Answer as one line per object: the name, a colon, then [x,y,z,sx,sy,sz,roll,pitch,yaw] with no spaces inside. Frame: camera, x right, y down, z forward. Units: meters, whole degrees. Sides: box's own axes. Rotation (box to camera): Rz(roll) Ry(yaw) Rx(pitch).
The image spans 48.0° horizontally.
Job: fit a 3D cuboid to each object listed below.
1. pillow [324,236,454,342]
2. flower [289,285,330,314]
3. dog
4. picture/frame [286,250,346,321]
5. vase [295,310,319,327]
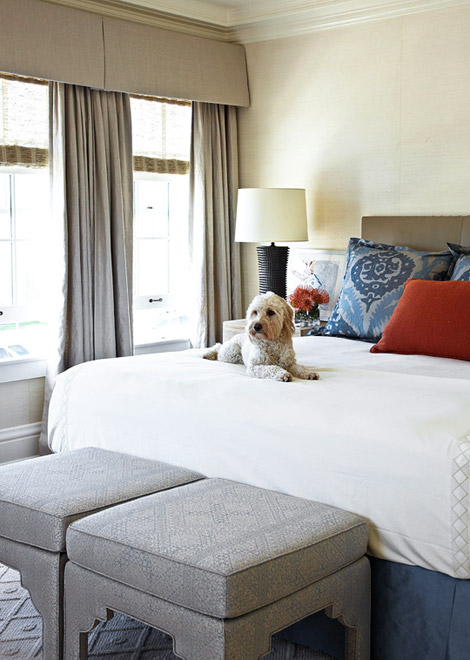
pillow: [0.854,-0.194,2.946,0.178,0.574,0.589,26,-5,-32]
flower: [0.492,-0.210,3.533,0.209,0.107,0.217,-11,-16,29]
dog: [0.087,0.011,2.180,0.274,0.317,0.690,-4,6,-21]
picture/frame: [0.571,-0.308,3.616,0.035,0.493,0.468,3,7,-44]
vase: [0.489,-0.074,3.576,0.134,0.100,0.126,-1,1,-33]
